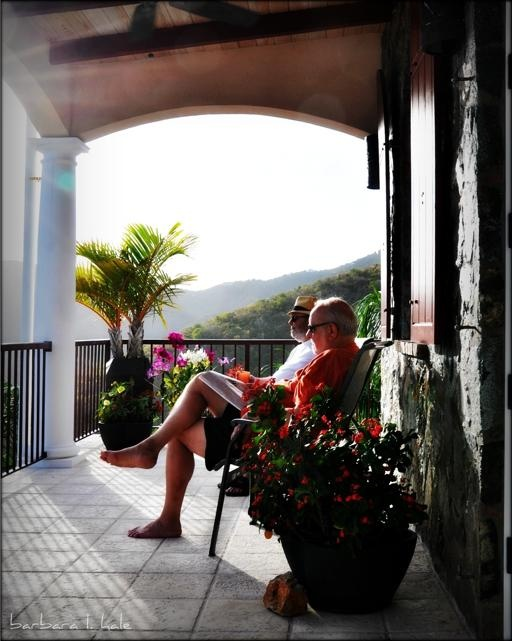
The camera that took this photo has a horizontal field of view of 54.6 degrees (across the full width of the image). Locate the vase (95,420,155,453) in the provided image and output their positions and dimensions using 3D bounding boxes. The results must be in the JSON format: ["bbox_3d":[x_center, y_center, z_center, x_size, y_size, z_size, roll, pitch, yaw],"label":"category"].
[{"bbox_3d":[-1.095,0.947,4.121,0.309,0.252,0.337,0,-11,-5],"label":"vase"}]

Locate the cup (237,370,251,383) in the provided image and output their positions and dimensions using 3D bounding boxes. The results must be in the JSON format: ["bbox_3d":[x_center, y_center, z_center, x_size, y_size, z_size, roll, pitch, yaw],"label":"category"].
[{"bbox_3d":[-0.075,0.345,3.113,0.074,0.088,0.078,1,3,0],"label":"cup"}]

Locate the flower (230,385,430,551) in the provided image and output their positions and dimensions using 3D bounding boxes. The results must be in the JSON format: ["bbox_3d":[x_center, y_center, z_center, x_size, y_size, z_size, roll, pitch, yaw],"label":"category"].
[{"bbox_3d":[0.214,0.466,1.630,0.411,0.492,0.580,5,-8,-44],"label":"flower"}]

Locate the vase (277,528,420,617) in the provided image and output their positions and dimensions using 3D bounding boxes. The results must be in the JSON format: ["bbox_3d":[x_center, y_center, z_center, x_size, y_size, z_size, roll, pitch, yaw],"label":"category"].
[{"bbox_3d":[0.279,0.768,1.486,0.294,0.169,0.319,0,-17,-3],"label":"vase"}]

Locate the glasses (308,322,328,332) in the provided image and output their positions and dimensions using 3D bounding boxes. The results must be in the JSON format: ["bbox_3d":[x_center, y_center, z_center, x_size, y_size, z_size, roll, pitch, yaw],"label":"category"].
[{"bbox_3d":[0.257,0.035,2.143,0.047,0.040,0.123,2,-7,-25],"label":"glasses"}]
